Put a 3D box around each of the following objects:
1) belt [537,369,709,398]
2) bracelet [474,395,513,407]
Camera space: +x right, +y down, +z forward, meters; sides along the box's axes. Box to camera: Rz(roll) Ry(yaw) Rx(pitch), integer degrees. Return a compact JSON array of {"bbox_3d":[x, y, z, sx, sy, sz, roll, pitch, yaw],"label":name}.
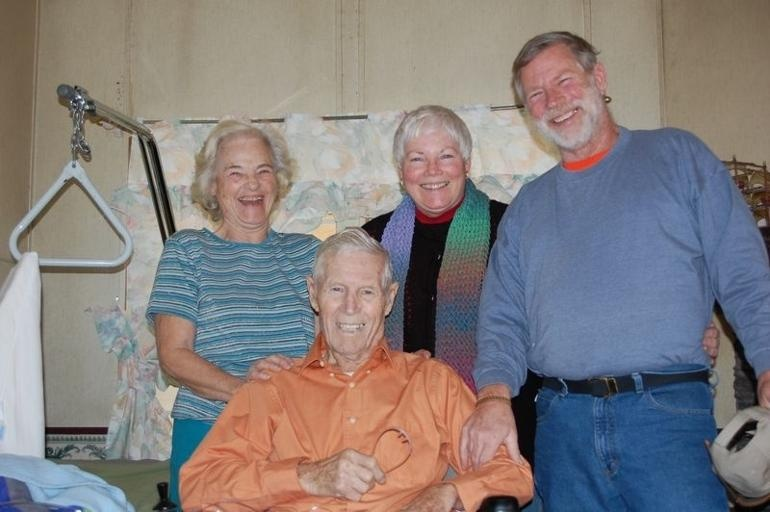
[{"bbox_3d":[1.057,0.557,3.496,0.715,0.095,0.132,-3,-2,16],"label":"belt"},{"bbox_3d":[0.471,0.629,3.470,0.142,0.036,0.048,-3,-2,8],"label":"bracelet"}]
